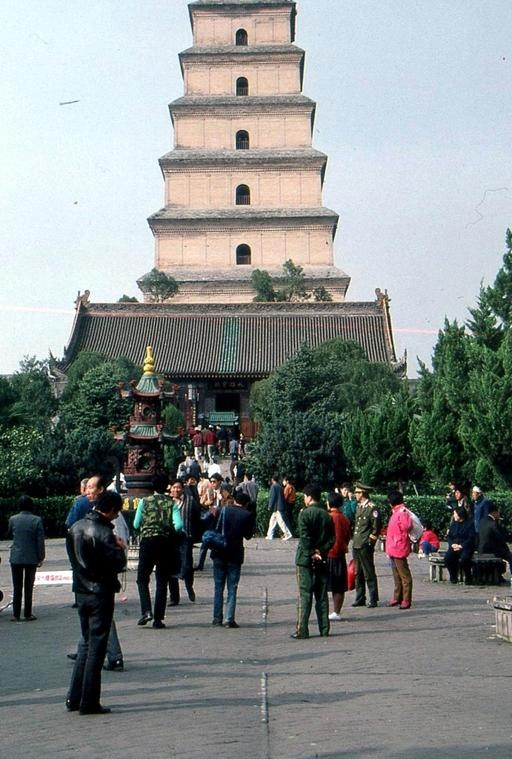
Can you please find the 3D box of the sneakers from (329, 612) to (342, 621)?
[{"bbox_3d":[0.761,2.342,12.295,0.063,0.056,0.123,8,-5,-32],"label":"sneakers"}]

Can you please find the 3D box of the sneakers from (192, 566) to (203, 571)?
[{"bbox_3d":[-0.737,2.409,15.882,0.080,0.046,0.120,0,-18,0],"label":"sneakers"}]

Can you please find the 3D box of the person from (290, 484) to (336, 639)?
[{"bbox_3d":[0.526,1.676,11.416,0.370,1.374,0.801,1,1,3],"label":"person"}]

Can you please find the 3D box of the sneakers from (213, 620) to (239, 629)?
[{"bbox_3d":[-0.282,2.290,11.626,0.233,0.108,0.091,-2,-5,10],"label":"sneakers"}]

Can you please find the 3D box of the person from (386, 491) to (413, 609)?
[{"bbox_3d":[1.491,1.804,13.130,0.262,1.213,0.530,1,1,6],"label":"person"}]

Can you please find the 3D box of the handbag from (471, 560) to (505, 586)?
[{"bbox_3d":[2.835,2.373,15.388,0.316,0.281,0.380,0,-3,-14],"label":"handbag"}]

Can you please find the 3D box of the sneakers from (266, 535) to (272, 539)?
[{"bbox_3d":[0.220,2.771,21.863,0.123,0.065,0.171,0,-10,1],"label":"sneakers"}]

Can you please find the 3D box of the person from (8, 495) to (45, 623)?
[{"bbox_3d":[-2.305,1.802,12.556,0.323,1.171,0.582,1,1,-11],"label":"person"}]

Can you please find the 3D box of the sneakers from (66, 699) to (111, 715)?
[{"bbox_3d":[-1.121,2.212,8.364,0.300,0.140,0.104,1,4,-11],"label":"sneakers"}]

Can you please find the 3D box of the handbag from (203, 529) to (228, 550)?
[{"bbox_3d":[-0.390,1.519,11.719,0.200,0.207,0.151,-2,34,23],"label":"handbag"}]

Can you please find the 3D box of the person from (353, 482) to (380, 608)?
[{"bbox_3d":[1.183,1.812,13.466,0.286,1.330,0.930,1,1,4],"label":"person"}]

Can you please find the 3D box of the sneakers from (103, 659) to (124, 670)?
[{"bbox_3d":[-1.096,2.192,9.619,0.196,0.089,0.071,4,-3,42],"label":"sneakers"}]

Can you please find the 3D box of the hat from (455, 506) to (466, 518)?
[{"bbox_3d":[2.455,1.623,15.096,0.149,0.128,0.232,1,1,8],"label":"hat"}]
